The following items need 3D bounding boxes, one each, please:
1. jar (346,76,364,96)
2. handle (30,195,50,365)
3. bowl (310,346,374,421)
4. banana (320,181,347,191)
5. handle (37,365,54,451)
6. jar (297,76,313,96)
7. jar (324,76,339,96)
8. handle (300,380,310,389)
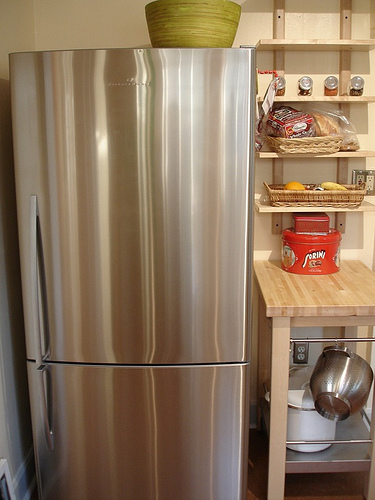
[{"bbox_3d":[0.660,-0.537,1.611,0.060,0.078,0.067,4,15,10],"label":"jar"},{"bbox_3d":[-0.428,0.127,1.196,0.031,0.417,0.050,-4,0,1],"label":"handle"},{"bbox_3d":[0.544,0.463,1.432,0.209,0.160,0.174,5,12,15],"label":"bowl"},{"bbox_3d":[0.584,-0.191,1.614,0.026,0.032,0.082,-1,20,-39],"label":"banana"},{"bbox_3d":[-0.423,0.434,1.248,0.022,0.184,0.039,1,6,11],"label":"handle"},{"bbox_3d":[0.465,-0.541,1.604,0.059,0.078,0.065,10,25,17],"label":"jar"},{"bbox_3d":[0.583,-0.551,1.643,0.055,0.065,0.117,6,13,21],"label":"jar"},{"bbox_3d":[0.466,0.507,1.603,0.018,0.021,0.006,-14,-16,-26],"label":"handle"}]
